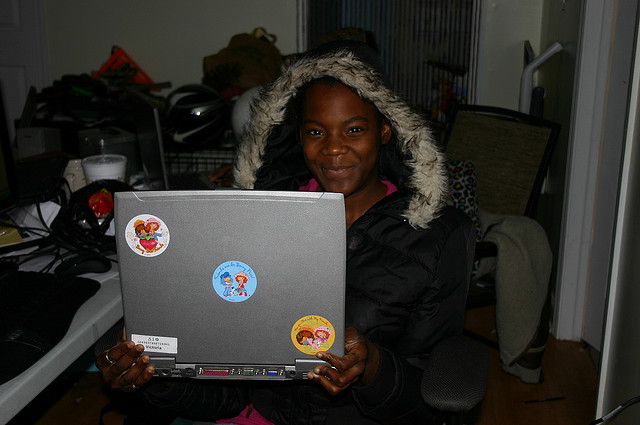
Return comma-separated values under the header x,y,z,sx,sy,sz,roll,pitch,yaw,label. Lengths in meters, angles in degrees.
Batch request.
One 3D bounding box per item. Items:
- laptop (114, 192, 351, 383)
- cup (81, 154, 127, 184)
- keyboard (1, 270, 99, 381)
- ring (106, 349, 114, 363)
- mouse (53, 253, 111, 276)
x,y,z,sx,sy,sz,roll,pitch,yaw,label
-0.195,0.190,1.557,0.697,0.520,0.513,-1,5,8,laptop
-0.914,-0.197,2.079,0.138,0.112,0.152,-1,12,0,cup
-0.884,0.363,1.539,0.219,0.075,0.319,20,38,8,keyboard
-0.604,0.409,1.406,0.013,0.039,0.023,-9,14,-31,ring
-0.839,0.173,1.721,0.167,0.054,0.079,1,11,-20,mouse
